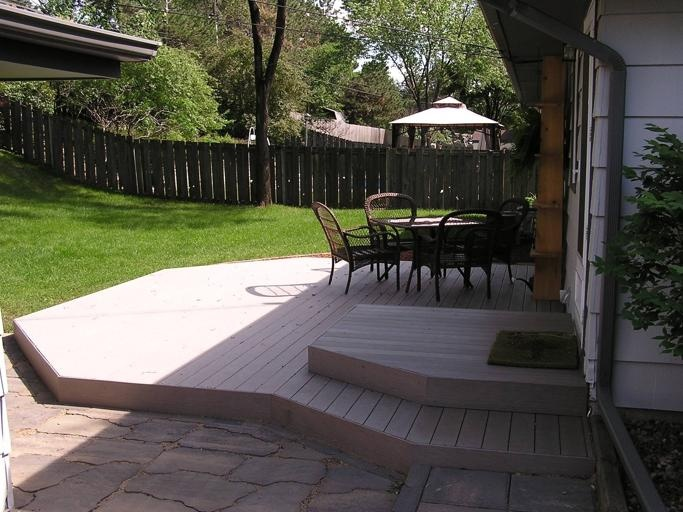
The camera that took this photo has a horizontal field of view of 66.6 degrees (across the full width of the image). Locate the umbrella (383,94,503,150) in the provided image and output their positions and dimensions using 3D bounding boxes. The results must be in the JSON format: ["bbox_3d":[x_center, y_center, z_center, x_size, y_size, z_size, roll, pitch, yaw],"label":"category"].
[{"bbox_3d":[2.971,-3.893,14.982,3.362,1.493,2.835,2,14,11],"label":"umbrella"}]

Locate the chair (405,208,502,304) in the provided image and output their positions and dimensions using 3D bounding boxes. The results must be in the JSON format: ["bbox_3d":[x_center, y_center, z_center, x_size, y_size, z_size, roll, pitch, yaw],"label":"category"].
[{"bbox_3d":[1.387,-0.131,6.499,1.048,1.068,1.887,1,12,11],"label":"chair"}]

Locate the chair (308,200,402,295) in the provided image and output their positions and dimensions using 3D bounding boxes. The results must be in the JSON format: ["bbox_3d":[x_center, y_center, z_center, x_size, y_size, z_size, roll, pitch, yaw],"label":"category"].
[{"bbox_3d":[0.174,-0.139,6.591,1.080,1.021,0.729,-3,10,-27],"label":"chair"}]

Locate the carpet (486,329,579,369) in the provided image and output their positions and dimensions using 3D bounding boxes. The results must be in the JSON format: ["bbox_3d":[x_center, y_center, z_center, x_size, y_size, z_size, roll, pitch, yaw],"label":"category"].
[{"bbox_3d":[1.426,0.667,3.824,0.587,0.075,0.852,4,13,22],"label":"carpet"}]
